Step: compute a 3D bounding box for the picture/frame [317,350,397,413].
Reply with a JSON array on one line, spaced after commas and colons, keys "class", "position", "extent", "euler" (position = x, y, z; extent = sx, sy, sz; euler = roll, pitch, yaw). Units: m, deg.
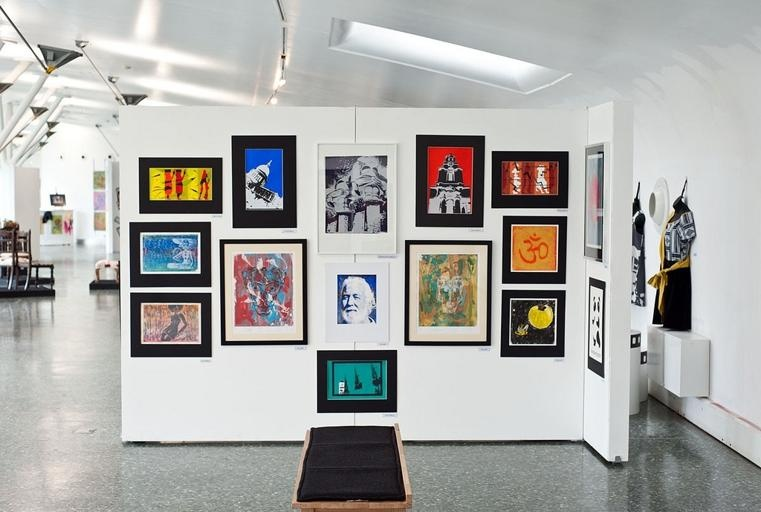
[{"class": "picture/frame", "position": [-0.334, 1.506, 7.093], "extent": [0.764, 0.572, 0.029], "euler": [0, 0, -3]}]

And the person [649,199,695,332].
[{"class": "person", "position": [4.041, 0.106, 7.980], "extent": [0.231, 1.821, 0.602], "euler": [0, 0, -33]}]

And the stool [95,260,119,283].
[{"class": "stool", "position": [-8.757, 0.514, 18.615], "extent": [0.655, 0.467, 0.656], "euler": [0, -1, -10]}]

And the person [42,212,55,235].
[{"class": "person", "position": [-17.841, -1.890, 31.187], "extent": [0.320, 0.964, 0.411], "euler": [3, 5, -4]}]

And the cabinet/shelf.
[{"class": "cabinet/shelf", "position": [4.025, 1.493, 7.980], "extent": [0.430, 0.859, 1.129], "euler": [11, -10, -34]}]
